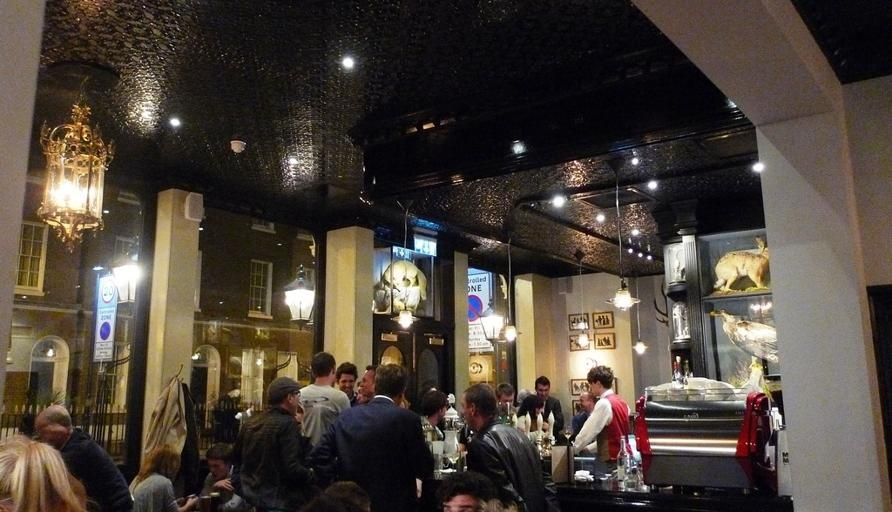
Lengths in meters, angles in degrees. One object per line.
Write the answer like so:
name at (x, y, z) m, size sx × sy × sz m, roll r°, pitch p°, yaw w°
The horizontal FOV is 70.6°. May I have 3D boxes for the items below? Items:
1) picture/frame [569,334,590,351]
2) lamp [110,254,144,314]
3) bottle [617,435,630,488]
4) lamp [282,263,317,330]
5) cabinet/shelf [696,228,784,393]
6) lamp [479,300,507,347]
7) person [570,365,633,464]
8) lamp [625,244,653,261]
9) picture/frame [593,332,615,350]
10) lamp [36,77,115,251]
picture/frame at (2.978, 1.929, 13.919) m, size 0.039 × 0.353 × 0.473 m, roll 4°, pitch -3°, yaw -44°
lamp at (-4.203, 0.283, 8.302) m, size 0.367 × 0.646 × 0.492 m, roll 4°, pitch -13°, yaw -22°
bottle at (1.689, 1.951, 5.963) m, size 0.128 × 0.422 × 0.347 m, roll -4°, pitch -12°, yaw 15°
lamp at (-2.278, 0.583, 9.818) m, size 0.503 × 1.021 × 0.913 m, roll 1°, pitch -12°, yaw -11°
cabinet/shelf at (3.886, 0.685, 8.433) m, size 0.885 × 2.044 × 0.363 m, roll -5°, pitch -13°, yaw 19°
lamp at (0.732, 1.279, 11.469) m, size 0.543 × 0.665 × 0.525 m, roll -5°, pitch -7°, yaw -16°
person at (1.737, 2.023, 6.985) m, size 0.544 × 1.490 × 0.598 m, roll -4°, pitch -2°, yaw 42°
lamp at (3.451, -0.077, 11.214) m, size 0.809 × 0.177 × 0.169 m, roll 12°, pitch -11°, yaw -41°
picture/frame at (3.508, 1.885, 13.853) m, size 0.421 × 0.298 × 0.047 m, roll -2°, pitch -10°, yaw 22°
lamp at (-3.956, -0.935, 6.702) m, size 0.686 × 1.524 × 1.897 m, roll 5°, pitch -13°, yaw -29°
